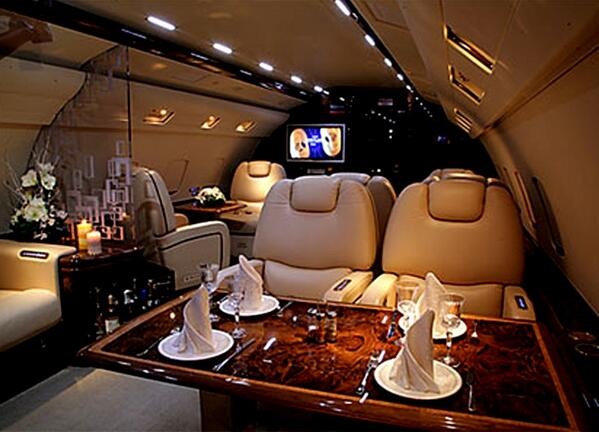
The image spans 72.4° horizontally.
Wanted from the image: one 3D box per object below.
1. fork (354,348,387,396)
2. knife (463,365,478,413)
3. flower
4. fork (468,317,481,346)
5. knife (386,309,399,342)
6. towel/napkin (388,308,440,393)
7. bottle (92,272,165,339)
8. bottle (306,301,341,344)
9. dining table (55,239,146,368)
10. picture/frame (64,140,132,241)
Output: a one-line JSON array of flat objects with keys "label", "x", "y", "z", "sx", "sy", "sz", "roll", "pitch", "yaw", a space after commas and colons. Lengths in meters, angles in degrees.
[{"label": "fork", "x": 0.331, "y": 0.672, "z": 1.890, "sx": 0.057, "sy": 0.021, "sz": 0.421, "roll": 5, "pitch": 19, "yaw": 26}, {"label": "knife", "x": 0.734, "y": 0.718, "z": 1.754, "sx": 0.043, "sy": 0.037, "sz": 0.254, "roll": -6, "pitch": 25, "yaw": 20}, {"label": "flower", "x": -2.614, "y": -0.262, "z": 3.987, "sx": 0.644, "sy": 1.006, "sz": 0.430, "roll": 2, "pitch": 6, "yaw": 14}, {"label": "fork", "x": 0.933, "y": 0.617, "z": 2.169, "sx": 0.035, "sy": 0.150, "sz": 0.036, "roll": 13, "pitch": 38, "yaw": 28}, {"label": "knife", "x": 0.508, "y": 0.606, "z": 2.244, "sx": 0.042, "sy": 0.021, "sz": 0.235, "roll": 0, "pitch": 12, "yaw": 18}, {"label": "towel/napkin", "x": 0.464, "y": 0.595, "z": 1.907, "sx": 0.303, "sy": 0.420, "sz": 0.252, "roll": 3, "pitch": 2, "yaw": 10}, {"label": "bottle", "x": -1.427, "y": 0.716, "z": 3.309, "sx": 0.260, "sy": 0.319, "sz": 0.472, "roll": 15, "pitch": 28, "yaw": 29}, {"label": "bottle", "x": 0.105, "y": 0.539, "z": 2.177, "sx": 0.177, "sy": 0.271, "sz": 0.186, "roll": -1, "pitch": 2, "yaw": 0}, {"label": "dining table", "x": -1.882, "y": 0.757, "z": 4.114, "sx": 0.748, "sy": 1.250, "sz": 0.964, "roll": 5, "pitch": 5, "yaw": 25}, {"label": "picture/frame", "x": -1.893, "y": -0.240, "z": 3.881, "sx": 0.852, "sy": 1.141, "sz": 0.057, "roll": 9, "pitch": 18, "yaw": 16}]
